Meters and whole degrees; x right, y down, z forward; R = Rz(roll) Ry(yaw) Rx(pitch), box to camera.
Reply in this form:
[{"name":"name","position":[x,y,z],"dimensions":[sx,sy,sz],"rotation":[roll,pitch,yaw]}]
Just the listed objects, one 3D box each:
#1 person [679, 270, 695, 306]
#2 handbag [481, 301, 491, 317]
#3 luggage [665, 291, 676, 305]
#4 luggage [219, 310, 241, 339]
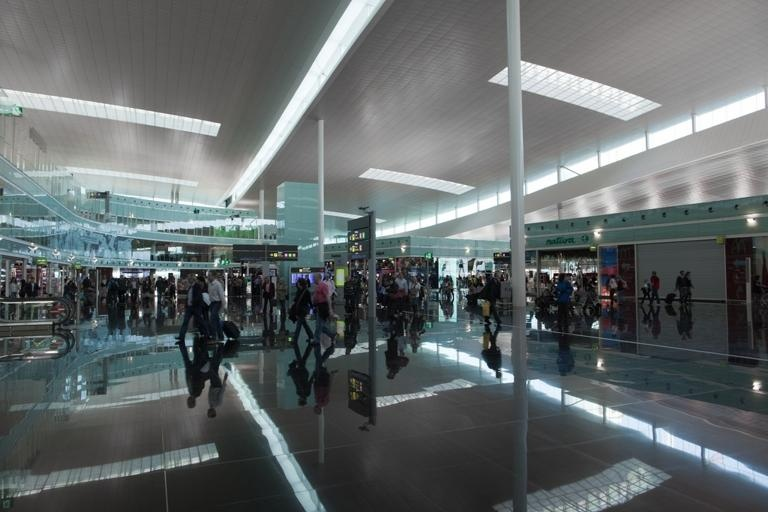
[{"name":"person","position":[14.499,1.565,24.149],"dimensions":[0.499,1.458,1.387],"rotation":[3,9,28]},{"name":"handbag","position":[3.635,1.908,17.793],"dimensions":[0.218,0.665,0.841],"rotation":[1,8,15]},{"name":"luggage","position":[14.731,2.132,25.801],"dimensions":[0.359,0.347,0.664],"rotation":[24,5,33]},{"name":"luggage","position":[-4.361,2.068,14.167],"dimensions":[0.521,0.627,0.958],"rotation":[-4,8,-19]}]
